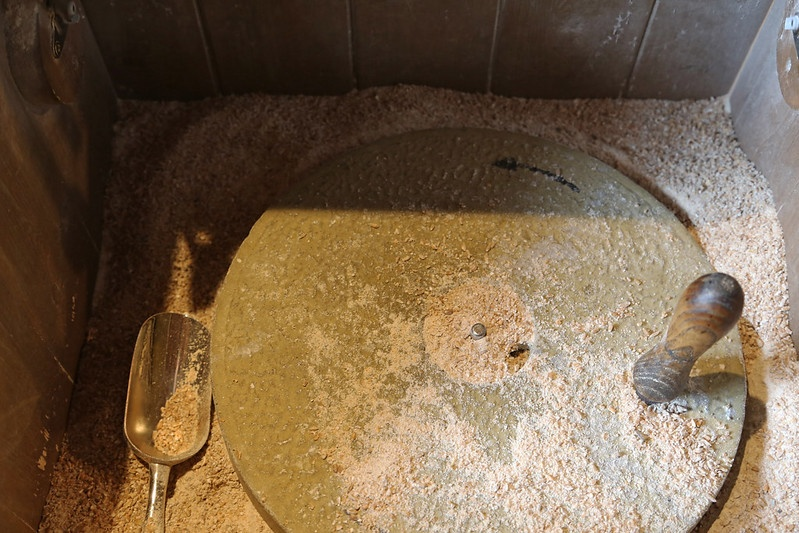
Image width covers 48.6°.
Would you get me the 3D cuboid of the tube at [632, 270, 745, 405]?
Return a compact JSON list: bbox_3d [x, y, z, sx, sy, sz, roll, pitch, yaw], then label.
[{"bbox_3d":[0.829,0.215,2.562,0.259,0.407,0.123,-14,47,-10],"label":"tube"}]
